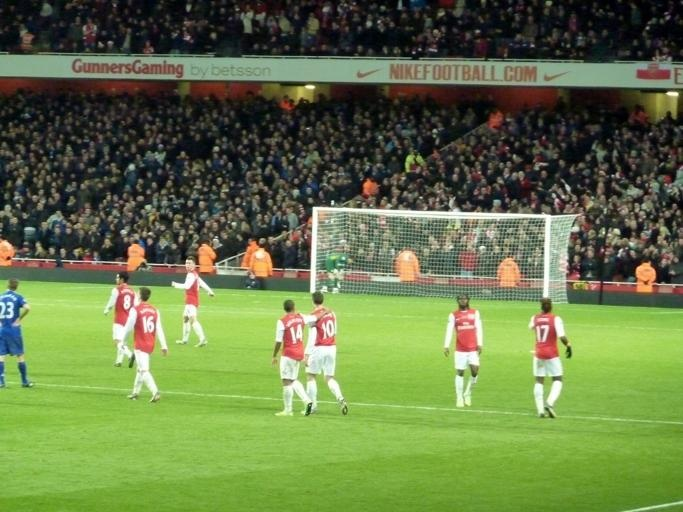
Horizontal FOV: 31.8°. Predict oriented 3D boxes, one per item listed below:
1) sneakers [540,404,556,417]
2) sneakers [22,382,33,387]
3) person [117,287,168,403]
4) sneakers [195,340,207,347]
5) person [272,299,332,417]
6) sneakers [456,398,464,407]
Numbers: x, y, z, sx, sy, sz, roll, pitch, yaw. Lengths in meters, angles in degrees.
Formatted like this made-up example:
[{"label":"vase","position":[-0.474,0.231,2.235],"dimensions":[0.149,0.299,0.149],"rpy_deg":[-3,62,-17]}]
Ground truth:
[{"label":"sneakers","position":[4.135,3.088,24.037],"dimensions":[0.160,0.207,0.439],"rpy_deg":[-3,-19,25]},{"label":"sneakers","position":[-6.594,2.703,25.277],"dimensions":[0.200,0.078,0.095],"rpy_deg":[-4,-11,0]},{"label":"person","position":[-3.972,1.824,24.438],"dimensions":[1.263,2.309,0.714],"rpy_deg":[1,-1,44]},{"label":"sneakers","position":[-3.453,2.149,29.636],"dimensions":[0.306,0.141,0.105],"rpy_deg":[3,12,35]},{"label":"person","position":[-0.922,2.028,23.716],"dimensions":[1.088,2.374,0.644],"rpy_deg":[-5,8,-24]},{"label":"sneakers","position":[2.452,3.018,24.797],"dimensions":[0.144,0.155,0.139],"rpy_deg":[-2,-2,8]}]
